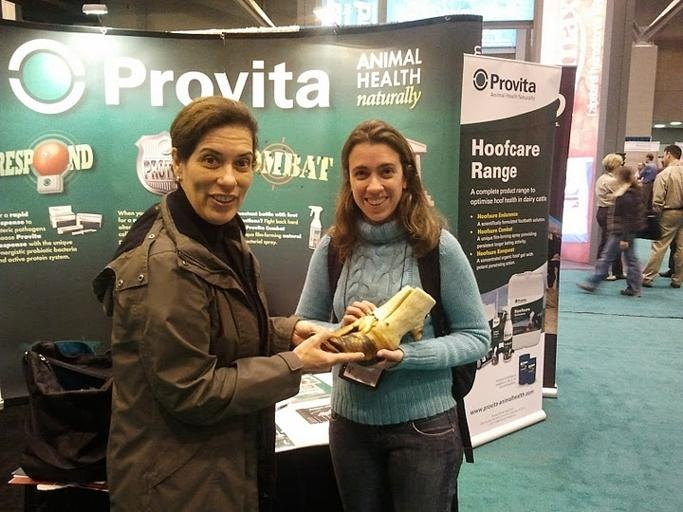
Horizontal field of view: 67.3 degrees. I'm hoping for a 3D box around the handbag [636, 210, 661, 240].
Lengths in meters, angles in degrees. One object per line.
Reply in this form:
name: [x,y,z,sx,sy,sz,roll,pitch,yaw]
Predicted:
handbag: [4.998,-0.463,8.362,0.194,0.480,0.779,12,17,44]
